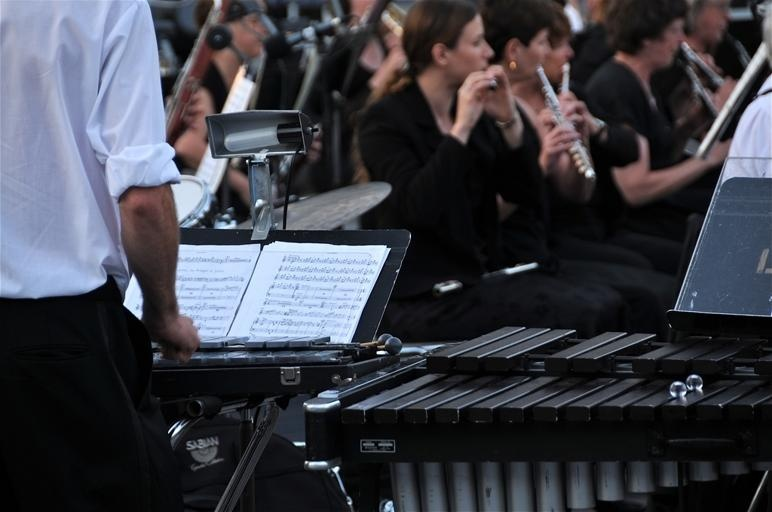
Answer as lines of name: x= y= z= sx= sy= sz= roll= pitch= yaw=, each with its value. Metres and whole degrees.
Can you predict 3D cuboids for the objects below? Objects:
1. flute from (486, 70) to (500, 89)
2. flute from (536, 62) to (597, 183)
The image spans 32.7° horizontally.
flute: x=0.427 y=-0.703 z=5.357 sx=0.041 sy=0.053 sz=0.019 roll=10 pitch=14 yaw=8
flute: x=0.739 y=-0.538 z=5.344 sx=0.093 sy=0.496 sz=0.093 roll=-29 pitch=-4 yaw=31
